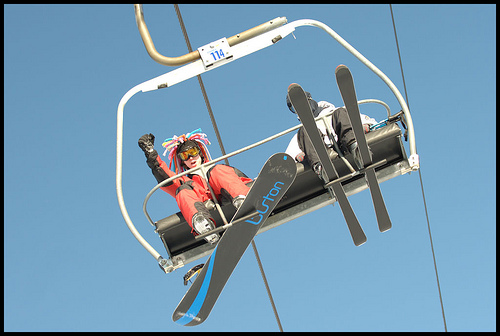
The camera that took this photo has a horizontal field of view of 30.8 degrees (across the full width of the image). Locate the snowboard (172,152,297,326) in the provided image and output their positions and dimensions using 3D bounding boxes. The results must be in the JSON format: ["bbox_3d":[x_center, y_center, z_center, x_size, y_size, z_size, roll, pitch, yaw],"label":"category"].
[{"bbox_3d":[-0.326,0.779,12.161,0.549,0.221,2.715,33,-80,-16],"label":"snowboard"}]

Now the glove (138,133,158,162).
[{"bbox_3d":[-1.484,-0.305,13.103,0.231,0.407,0.222,-12,-21,-6],"label":"glove"}]

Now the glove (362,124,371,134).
[{"bbox_3d":[1.718,-0.575,13.326,0.108,0.152,0.119,-1,-59,-5],"label":"glove"}]

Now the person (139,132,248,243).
[{"bbox_3d":[-0.644,0.155,13.005,1.398,1.887,0.744,-20,-47,-19],"label":"person"}]

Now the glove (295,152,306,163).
[{"bbox_3d":[0.722,-0.153,12.996,0.145,0.120,0.134,28,2,2],"label":"glove"}]

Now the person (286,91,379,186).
[{"bbox_3d":[1.289,-0.356,13.455,1.269,0.844,1.932,-14,-20,6],"label":"person"}]

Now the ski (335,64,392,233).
[{"bbox_3d":[1.460,-0.154,12.024,0.249,2.493,0.134,-15,15,11],"label":"ski"}]
